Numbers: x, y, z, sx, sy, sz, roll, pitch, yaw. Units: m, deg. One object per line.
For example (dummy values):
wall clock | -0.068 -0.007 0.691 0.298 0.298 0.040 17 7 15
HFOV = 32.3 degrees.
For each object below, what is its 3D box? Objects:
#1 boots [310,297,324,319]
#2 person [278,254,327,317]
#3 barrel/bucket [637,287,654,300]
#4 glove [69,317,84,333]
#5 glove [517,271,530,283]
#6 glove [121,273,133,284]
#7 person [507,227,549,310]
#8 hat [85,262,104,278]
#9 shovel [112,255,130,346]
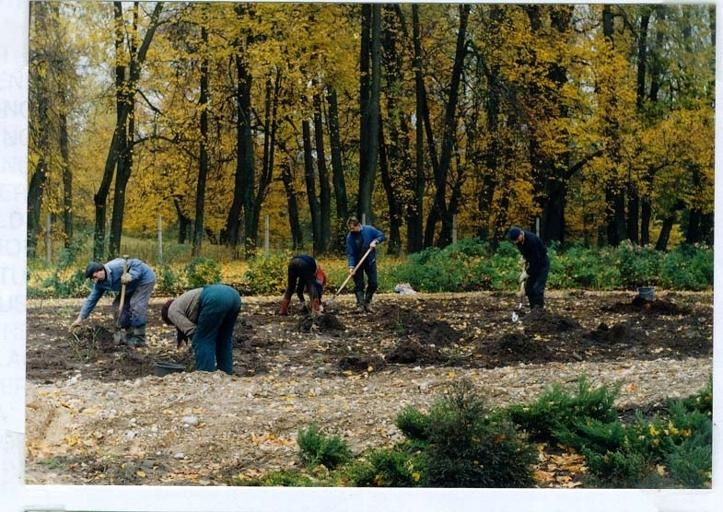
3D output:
boots | -1.147 1.280 31.521 0.278 0.440 0.641 -2 14 -3
person | -1.383 0.740 32.348 1.050 1.614 2.687 0 -1 13
barrel/bucket | 7.385 0.996 32.536 0.308 0.330 0.324 0 -4 0
glove | -6.628 1.626 28.925 0.315 0.248 0.636 4 1 -11
glove | 3.967 0.499 30.988 0.244 0.355 0.100 7 11 -40
glove | -5.519 0.549 29.335 0.152 0.298 0.258 10 18 42
person | 4.220 0.326 31.379 0.901 2.280 1.317 1 13 12
hat | -6.219 0.308 29.035 0.283 0.313 0.371 -21 -3 13
shovel | -5.714 1.238 29.547 0.471 0.433 1.971 6 -45 -10
